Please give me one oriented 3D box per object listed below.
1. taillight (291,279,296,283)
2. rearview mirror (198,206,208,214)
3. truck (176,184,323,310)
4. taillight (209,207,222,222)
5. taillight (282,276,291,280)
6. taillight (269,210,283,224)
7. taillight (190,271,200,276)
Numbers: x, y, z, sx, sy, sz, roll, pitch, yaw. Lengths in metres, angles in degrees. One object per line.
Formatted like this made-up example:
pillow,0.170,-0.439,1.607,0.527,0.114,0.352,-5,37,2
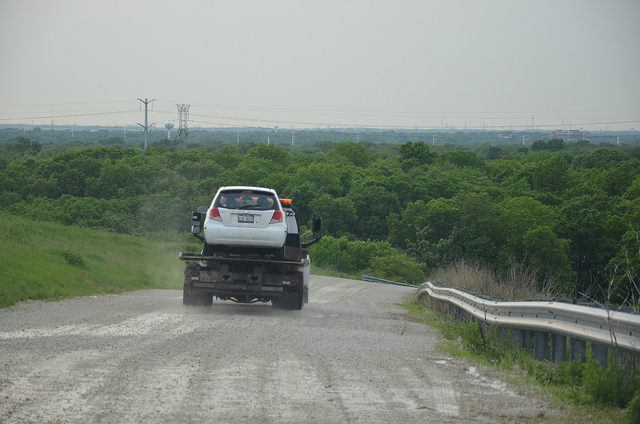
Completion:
taillight,-0.749,1.908,18.937,0.077,0.083,0.026,-6,-8,-4
rearview mirror,-3.385,-0.055,19.831,0.395,0.308,0.058,1,11,15
truck,-1.962,0.968,20.580,2.772,2.488,4.671,1,1,1
taillight,-2.791,0.060,18.351,0.332,0.343,0.137,1,3,1
taillight,-0.936,1.823,18.925,0.208,0.085,0.024,1,3,-2
taillight,-1.184,0.138,18.426,0.383,0.365,0.116,-1,4,-38
taillight,-3.411,1.694,18.798,0.168,0.116,0.041,6,-13,-1
